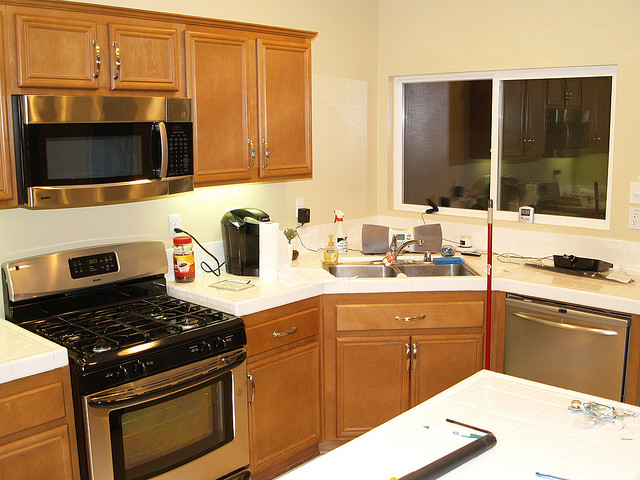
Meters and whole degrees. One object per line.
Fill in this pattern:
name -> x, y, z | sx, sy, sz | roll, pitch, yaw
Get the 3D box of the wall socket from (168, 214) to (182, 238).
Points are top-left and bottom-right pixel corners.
wall socket -> -0.900, -0.092, 3.156 | 0.089, 0.141, 0.026 | -12, 17, -41

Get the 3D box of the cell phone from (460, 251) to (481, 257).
cell phone -> 1.108, 0.097, 3.717 | 0.144, 0.016, 0.077 | 5, 14, 21

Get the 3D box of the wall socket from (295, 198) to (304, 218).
wall socket -> -0.153, -0.241, 3.774 | 0.018, 0.174, 0.131 | 9, 12, 37

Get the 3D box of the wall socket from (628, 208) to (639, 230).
wall socket -> 2.008, -0.138, 3.226 | 0.063, 0.134, 0.025 | 7, 15, 31

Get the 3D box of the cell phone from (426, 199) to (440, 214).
cell phone -> 0.915, -0.272, 4.099 | 0.093, 0.110, 0.098 | 2, 13, 13
